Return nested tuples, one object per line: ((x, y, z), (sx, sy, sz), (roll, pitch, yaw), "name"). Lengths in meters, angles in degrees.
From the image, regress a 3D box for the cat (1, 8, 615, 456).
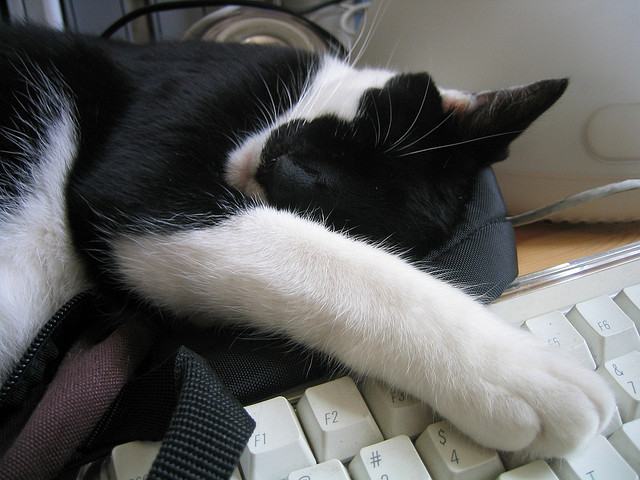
((-0.016, 0.035, 0.603), (0.575, 0.224, 0.356), (7, 37, -4), "cat")
